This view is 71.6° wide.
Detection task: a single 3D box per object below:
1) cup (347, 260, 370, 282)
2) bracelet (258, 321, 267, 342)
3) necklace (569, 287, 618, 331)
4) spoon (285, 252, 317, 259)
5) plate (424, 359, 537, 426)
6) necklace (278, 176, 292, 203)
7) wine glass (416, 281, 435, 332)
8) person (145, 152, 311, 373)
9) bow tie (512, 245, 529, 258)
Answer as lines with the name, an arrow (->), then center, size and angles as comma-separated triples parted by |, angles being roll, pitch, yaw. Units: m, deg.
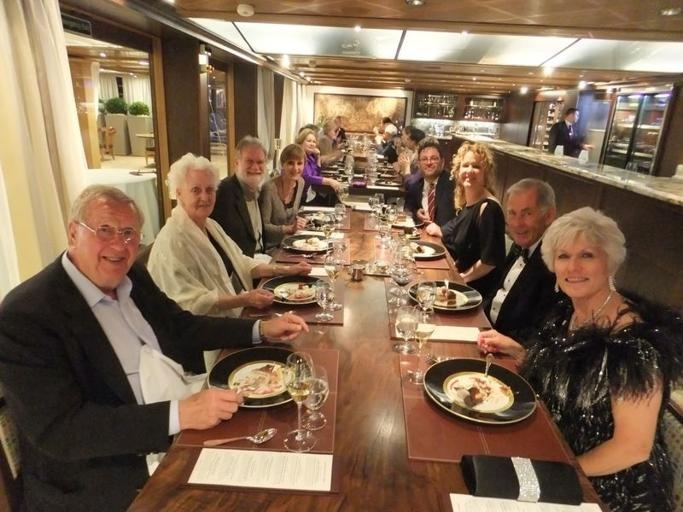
cup -> 0.111, 0.093, 3.011 | 0.103, 0.095, 0.129 | -2, 14, -14
bracelet -> -0.374, 0.355, 2.219 | 0.032, 0.074, 0.058 | 1, 9, -6
necklace -> 1.117, 0.229, 2.093 | 0.088, 0.153, 0.127 | 32, 61, 6
spoon -> -0.279, -0.005, 3.303 | 0.194, 0.032, 0.033 | 3, 36, -4
plate -> 0.572, 0.543, 1.926 | 0.409, 0.042, 0.418 | 26, 29, 23
necklace -> -0.572, -0.704, 4.929 | 0.175, 0.238, 0.057 | 4, 8, 5
wine glass -> 0.419, 0.235, 2.352 | 0.113, 0.258, 0.108 | -4, 19, -10
person -> -0.712, 0.177, 3.086 | 0.965, 1.542, 0.762 | -4, 19, -20
bow tie -> 1.112, -0.026, 3.006 | 0.072, 0.024, 0.072 | -3, 53, 48
